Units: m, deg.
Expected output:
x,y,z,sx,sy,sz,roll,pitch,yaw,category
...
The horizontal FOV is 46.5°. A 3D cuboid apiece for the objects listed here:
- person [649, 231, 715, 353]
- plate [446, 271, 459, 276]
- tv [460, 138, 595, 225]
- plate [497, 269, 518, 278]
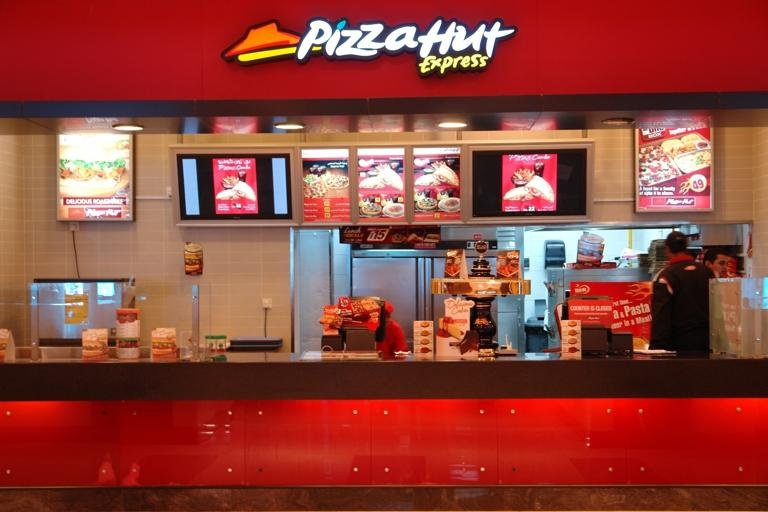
x,y,z,sx,sy,sz,roll,pitch,yaw,category
2.432,0.275,7.333,0.538,0.984,0.249,-2,0,6,person
0.544,0.132,7.112,0.056,0.052,0.137,-2,1,-37,plate
1.422,-0.754,8.747,1.063,0.552,0.122,0,0,2,tv
0.988,0.132,7.084,0.170,0.056,0.155,-2,0,4,plate
